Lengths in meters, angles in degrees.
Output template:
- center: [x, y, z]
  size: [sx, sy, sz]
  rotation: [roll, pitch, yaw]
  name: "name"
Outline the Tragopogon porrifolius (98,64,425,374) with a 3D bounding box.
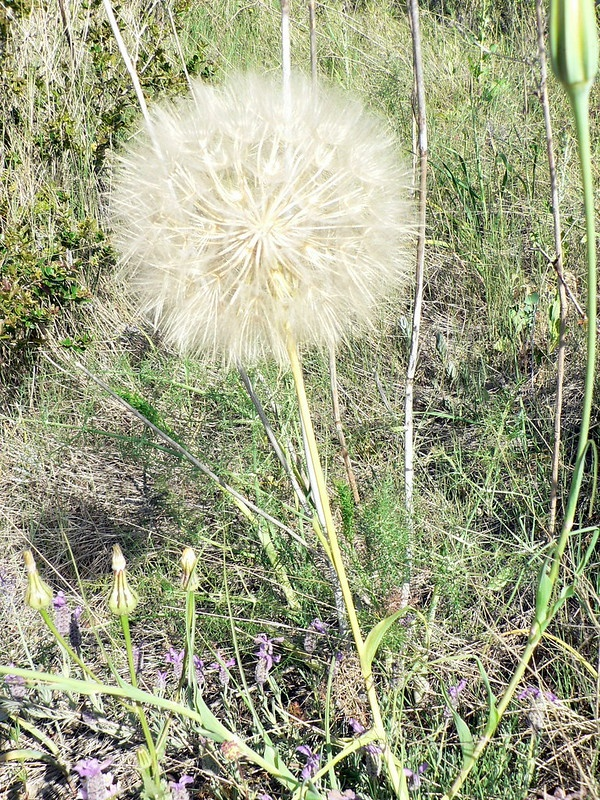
- center: [-0.149, -0.364, 1.761]
  size: [0.224, 0.489, 0.507]
  rotation: [11, 19, 27]
  name: "Tragopogon porrifolius"
